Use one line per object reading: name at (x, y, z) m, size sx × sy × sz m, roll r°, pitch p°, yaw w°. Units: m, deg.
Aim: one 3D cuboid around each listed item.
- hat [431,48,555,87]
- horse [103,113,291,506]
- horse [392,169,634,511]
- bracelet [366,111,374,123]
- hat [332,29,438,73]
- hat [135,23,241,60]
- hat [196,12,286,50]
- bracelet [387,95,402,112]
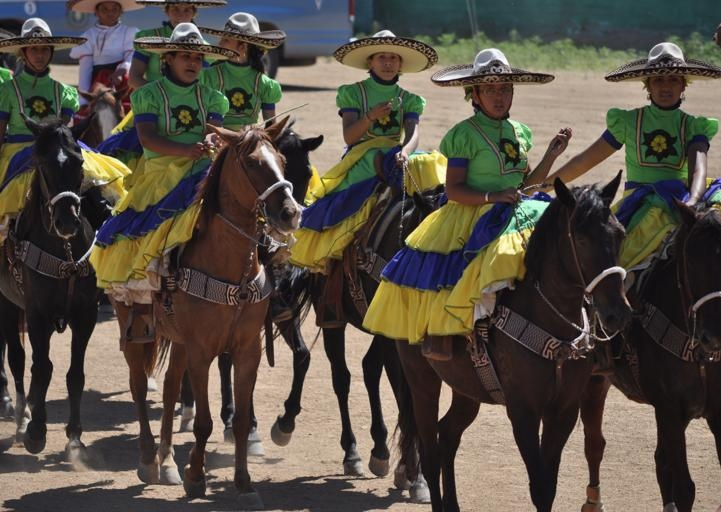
hat at (1.282, -1.866, 14.880) m, size 1.287 × 0.316 × 1.178 m, roll 1°, pitch 8°, yaw 23°
horse at (-1.545, 0.596, 15.554) m, size 2.198 × 3.840 × 0.731 m, roll 8°, pitch 13°, yaw 33°
horse at (1.607, 0.927, 14.515) m, size 2.077 × 3.456 × 0.796 m, roll 9°, pitch 14°, yaw 35°
bracelet at (0.086, -1.460, 15.992) m, size 0.107 × 0.089 × 0.026 m, roll 1°, pitch 2°, yaw 11°
hat at (0.257, -2.247, 16.484) m, size 1.201 × 0.242 × 1.136 m, roll 1°, pitch -12°, yaw -16°
hat at (-1.882, -2.240, 16.176) m, size 0.755 × 0.197 × 0.658 m, roll 3°, pitch -5°, yaw -2°
hat at (-1.410, -2.618, 17.288) m, size 1.039 × 0.308 × 0.809 m, roll 19°, pitch 10°, yaw -6°
bracelet at (0.386, -1.629, 16.297) m, size 0.148 × 0.173 × 0.062 m, roll -1°, pitch 19°, yaw -20°
